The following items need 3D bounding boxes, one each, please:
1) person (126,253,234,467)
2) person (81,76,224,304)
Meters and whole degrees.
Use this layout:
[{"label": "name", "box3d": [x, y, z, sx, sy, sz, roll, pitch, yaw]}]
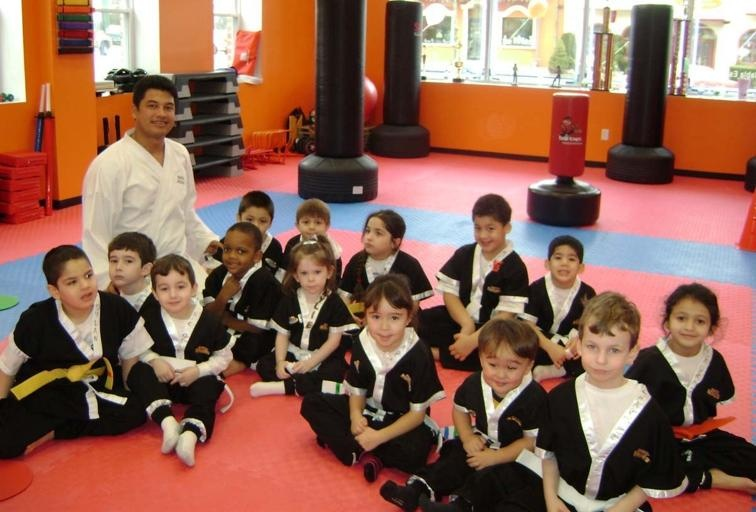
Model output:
[{"label": "person", "box3d": [-1.021, 0.486, 3.085, 0.525, 0.875, 0.916, -2, 11, -21]}, {"label": "person", "box3d": [-1.427, -0.407, 3.852, 0.824, 1.423, 0.983, 11, 13, 22]}]
